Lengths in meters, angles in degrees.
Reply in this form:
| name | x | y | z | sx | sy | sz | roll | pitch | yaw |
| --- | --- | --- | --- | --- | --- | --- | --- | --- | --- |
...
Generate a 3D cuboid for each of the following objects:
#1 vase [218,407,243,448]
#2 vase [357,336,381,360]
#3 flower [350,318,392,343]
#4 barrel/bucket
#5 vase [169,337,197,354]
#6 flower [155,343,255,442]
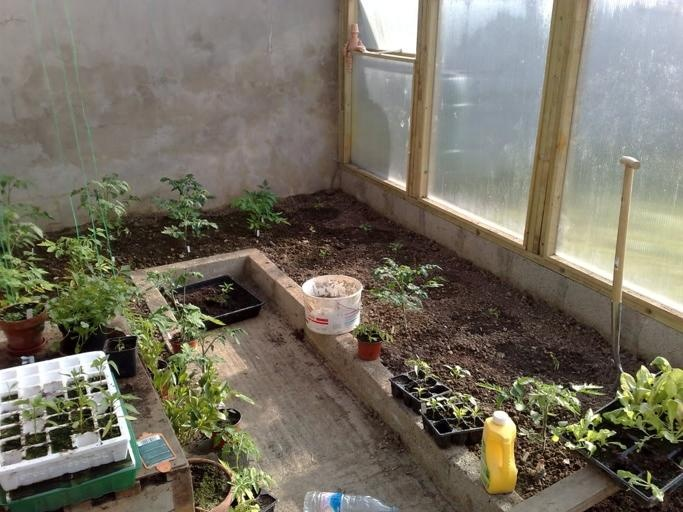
| name | x | y | z | sx | sy | sz | roll | pitch | yaw |
| --- | --- | --- | --- | --- | --- | --- | --- | --- | --- |
| vase | -0.723 | 1.140 | 3.279 | 0.164 | 0.157 | 0.189 | 5 | 18 | -1 |
| vase | 0.205 | 0.679 | 3.700 | 0.149 | 0.125 | 0.157 | 8 | 17 | 14 |
| flower | 0.222 | 0.569 | 3.673 | 0.182 | 0.120 | 0.194 | -2 | 13 | -13 |
| barrel/bucket | -0.065 | 0.351 | 3.954 | 0.432 | 0.342 | 0.456 | -1 | 23 | 0 |
| vase | -1.199 | 0.665 | 3.799 | 0.155 | 0.113 | 0.162 | 5 | 17 | 8 |
| flower | -0.945 | 0.918 | 3.284 | 0.487 | 0.636 | 0.761 | -9 | 21 | -16 |
